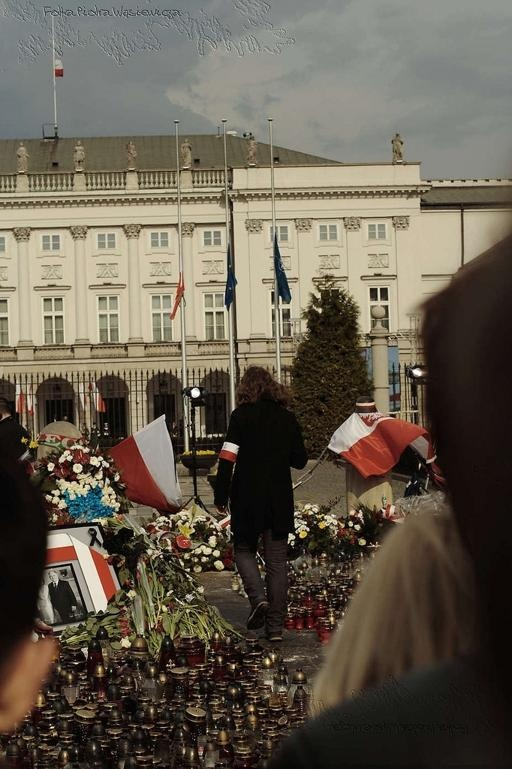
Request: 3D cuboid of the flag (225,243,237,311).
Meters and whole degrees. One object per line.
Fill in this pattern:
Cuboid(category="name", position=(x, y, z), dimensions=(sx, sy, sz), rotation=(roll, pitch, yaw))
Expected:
Cuboid(category="flag", position=(-0.719, -2.918, 32.880), dimensions=(0.231, 1.991, 0.375), rotation=(-5, 17, -13))

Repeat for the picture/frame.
Cuboid(category="picture/frame", position=(-0.815, 0.860, 5.310), dimensions=(0.409, 0.428, 0.031), rotation=(-11, 10, 12))

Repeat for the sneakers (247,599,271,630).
Cuboid(category="sneakers", position=(0.015, 1.094, 5.889), dimensions=(0.075, 0.199, 0.079), rotation=(6, 39, -9))
